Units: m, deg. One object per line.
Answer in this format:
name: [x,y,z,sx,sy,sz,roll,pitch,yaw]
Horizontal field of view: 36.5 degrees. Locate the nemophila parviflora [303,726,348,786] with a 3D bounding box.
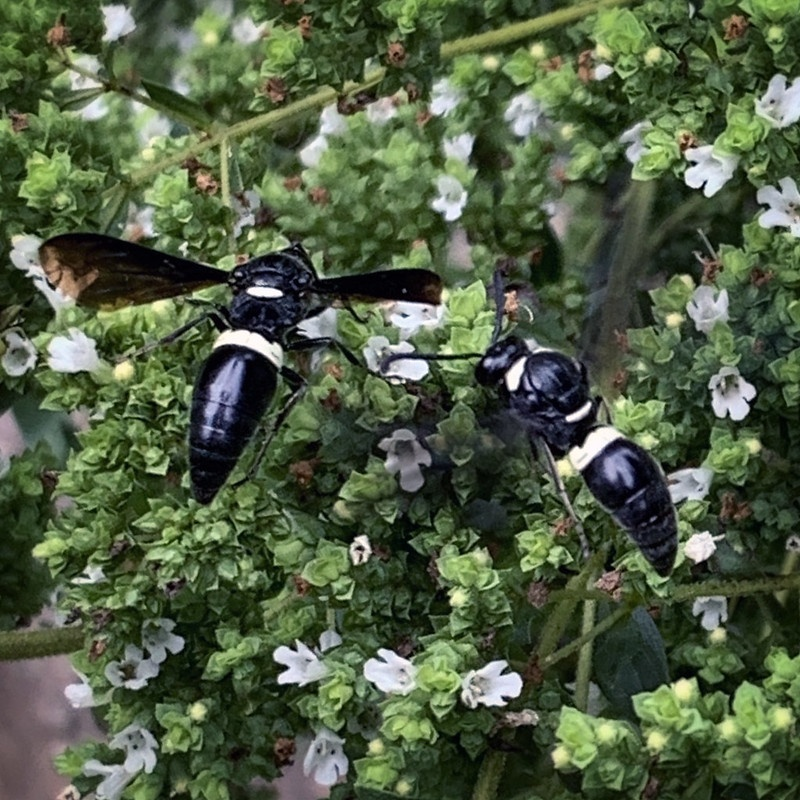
nemophila parviflora: [-0.146,0.703,2.424,0.089,0.117,0.168,7,-11,0]

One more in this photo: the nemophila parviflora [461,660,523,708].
nemophila parviflora: [0.172,0.517,2.226,0.071,0.091,0.158,0,-12,31]

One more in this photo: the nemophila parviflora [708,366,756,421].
nemophila parviflora: [0.651,-0.013,2.416,0.112,0.097,0.039,-4,-8,12]

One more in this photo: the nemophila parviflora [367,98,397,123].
nemophila parviflora: [-0.045,-0.663,2.795,0.069,0.061,0.018,10,-12,-16]

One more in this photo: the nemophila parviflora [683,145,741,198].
nemophila parviflora: [0.644,-0.485,2.547,0.064,0.110,0.114,15,-14,-30]

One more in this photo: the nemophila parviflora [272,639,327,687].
nemophila parviflora: [-0.200,0.506,2.361,0.095,0.082,0.120,9,-11,-11]

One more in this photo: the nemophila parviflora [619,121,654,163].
nemophila parviflora: [0.516,-0.572,2.702,0.024,0.084,0.073,-7,36,-41]

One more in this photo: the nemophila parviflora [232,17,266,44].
nemophila parviflora: [-0.371,-0.891,2.938,0.092,0.071,0.020,0,-15,32]

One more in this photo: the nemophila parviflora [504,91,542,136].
nemophila parviflora: [0.280,-0.650,2.794,0.050,0.087,0.081,17,-15,-39]

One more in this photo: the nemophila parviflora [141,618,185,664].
nemophila parviflora: [-0.490,0.489,2.488,0.087,0.091,0.054,9,-12,-8]

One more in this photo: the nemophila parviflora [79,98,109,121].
nemophila parviflora: [-0.731,-0.687,2.891,0.060,0.061,0.016,38,-15,-34]

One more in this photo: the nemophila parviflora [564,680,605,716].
nemophila parviflora: [0.368,0.586,2.414,0.088,0.062,0.030,5,-12,6]

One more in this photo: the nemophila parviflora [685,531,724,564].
nemophila parviflora: [0.590,0.289,2.420,0.095,0.050,0.029,-29,-5,-33]

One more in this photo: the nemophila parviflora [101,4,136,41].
nemophila parviflora: [-0.687,-0.899,2.943,0.091,0.087,0.017,1,2,-41]

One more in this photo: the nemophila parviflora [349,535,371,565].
nemophila parviflora: [-0.079,0.288,2.349,0.043,0.058,0.026,5,-12,12]

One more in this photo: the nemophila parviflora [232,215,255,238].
nemophila parviflora: [-0.364,-0.397,2.783,0.060,0.050,0.017,7,-22,-33]

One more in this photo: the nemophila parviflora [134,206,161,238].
nemophila parviflora: [-0.589,-0.410,2.844,0.069,0.072,0.026,-25,-11,19]

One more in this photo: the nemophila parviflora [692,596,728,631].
nemophila parviflora: [0.631,0.432,2.480,0.076,0.071,0.039,6,-12,6]

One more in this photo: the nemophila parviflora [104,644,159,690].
nemophila parviflora: [-0.557,0.547,2.534,0.106,0.091,0.047,-35,1,-11]

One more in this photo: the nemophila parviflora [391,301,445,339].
nemophila parviflora: [0.032,-0.153,2.453,0.090,0.033,0.087,16,41,34]

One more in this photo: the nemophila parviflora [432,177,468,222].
nemophila parviflora: [0.114,-0.463,2.799,0.079,0.097,0.050,17,-15,-41]

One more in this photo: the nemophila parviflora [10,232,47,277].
nemophila parviflora: [-0.841,-0.327,2.725,0.118,0.094,0.026,14,28,9]

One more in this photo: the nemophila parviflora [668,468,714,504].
nemophila parviflora: [0.576,0.170,2.434,0.098,0.066,0.032,-29,-9,-4]

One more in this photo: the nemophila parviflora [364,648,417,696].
nemophila parviflora: [-0.021,0.492,2.232,0.103,0.079,0.034,17,-36,2]

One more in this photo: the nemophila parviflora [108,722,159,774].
nemophila parviflora: [-0.537,0.697,2.474,0.114,0.094,0.043,-3,-11,25]

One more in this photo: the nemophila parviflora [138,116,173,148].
nemophila parviflora: [-0.596,-0.650,2.939,0.080,0.080,0.014,4,-13,14]
